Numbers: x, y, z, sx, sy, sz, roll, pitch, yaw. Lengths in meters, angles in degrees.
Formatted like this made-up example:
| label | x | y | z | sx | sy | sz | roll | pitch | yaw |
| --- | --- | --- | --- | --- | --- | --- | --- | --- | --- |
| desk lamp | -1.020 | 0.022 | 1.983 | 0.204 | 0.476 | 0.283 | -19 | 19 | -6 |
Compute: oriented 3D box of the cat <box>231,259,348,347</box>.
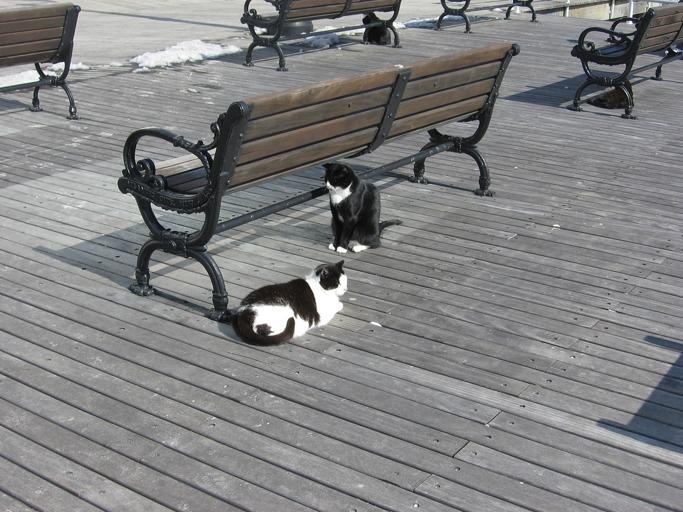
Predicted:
| label | x | y | z | sx | sy | sz | roll | pitch | yaw |
| --- | --- | --- | --- | --- | --- | --- | --- | --- | --- |
| cat | -0.240 | 0.268 | 3.378 | 0.754 | 0.245 | 0.401 | -19 | 31 | -28 |
